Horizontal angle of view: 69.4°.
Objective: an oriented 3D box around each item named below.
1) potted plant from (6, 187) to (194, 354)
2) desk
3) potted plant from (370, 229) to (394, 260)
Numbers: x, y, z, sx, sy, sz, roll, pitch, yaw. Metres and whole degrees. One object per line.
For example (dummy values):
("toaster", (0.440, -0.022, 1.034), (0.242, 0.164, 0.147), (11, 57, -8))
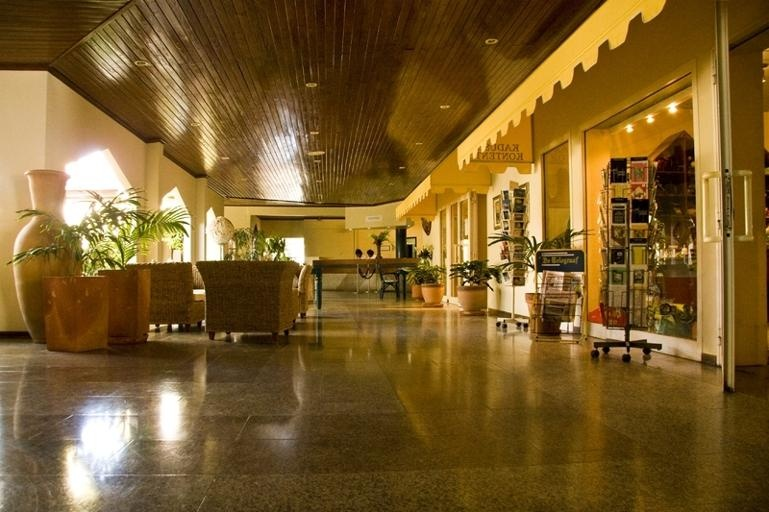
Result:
("potted plant", (-3.468, 0.148, 6.722), (1.259, 1.776, 1.514), (3, 5, 32))
("desk", (-0.484, 0.582, 13.534), (2.634, 1.105, 1.102), (0, 7, -15))
("potted plant", (-0.099, -0.537, 22.932), (1.161, 1.268, 1.039), (1, -6, -3))
